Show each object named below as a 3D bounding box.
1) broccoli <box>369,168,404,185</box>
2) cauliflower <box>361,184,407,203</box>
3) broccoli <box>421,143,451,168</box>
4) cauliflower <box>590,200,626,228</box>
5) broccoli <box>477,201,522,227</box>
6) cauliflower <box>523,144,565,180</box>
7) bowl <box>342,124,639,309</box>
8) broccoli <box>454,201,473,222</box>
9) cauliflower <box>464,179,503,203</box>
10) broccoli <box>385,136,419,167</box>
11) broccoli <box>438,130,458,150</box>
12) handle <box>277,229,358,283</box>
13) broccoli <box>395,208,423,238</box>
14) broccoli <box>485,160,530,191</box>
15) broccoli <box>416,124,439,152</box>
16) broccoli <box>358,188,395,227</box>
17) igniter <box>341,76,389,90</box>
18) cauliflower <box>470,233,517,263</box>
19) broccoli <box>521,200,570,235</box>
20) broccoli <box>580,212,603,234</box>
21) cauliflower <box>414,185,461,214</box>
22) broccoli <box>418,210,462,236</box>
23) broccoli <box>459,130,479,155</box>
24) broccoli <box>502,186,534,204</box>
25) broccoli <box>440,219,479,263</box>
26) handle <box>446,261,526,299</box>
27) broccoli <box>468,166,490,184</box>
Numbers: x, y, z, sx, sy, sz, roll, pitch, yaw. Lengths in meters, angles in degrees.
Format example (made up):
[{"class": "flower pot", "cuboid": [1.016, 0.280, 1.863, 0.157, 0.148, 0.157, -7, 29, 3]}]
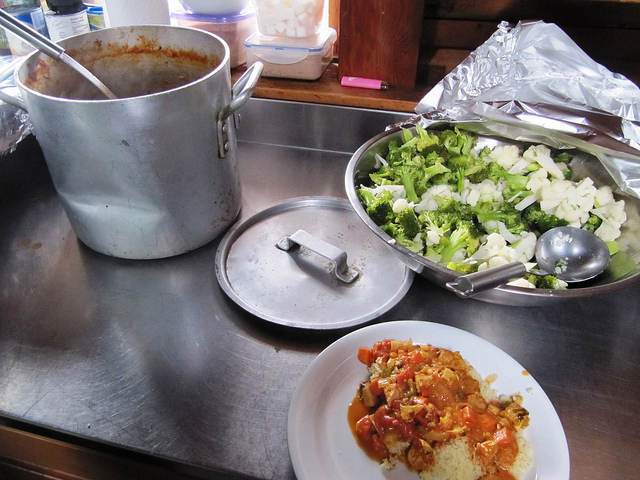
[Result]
[{"class": "broccoli", "cuboid": [0.162, -0.149, 1.227, 0.056, 0.016, 0.040, -2, 79, 14]}, {"class": "cauliflower", "cuboid": [0.162, -0.114, 1.198, 0.069, 0.037, 0.049, -11, 79, -1]}, {"class": "broccoli", "cuboid": [0.282, -0.207, 1.234, 0.056, 0.025, 0.056, -31, 58, -25]}, {"class": "cauliflower", "cuboid": [0.628, -0.054, 1.122, 0.053, 0.028, 0.054, 12, 61, 7]}, {"class": "broccoli", "cuboid": [0.413, -0.057, 1.169, 0.077, 0.042, 0.058, -11, 21, 9]}, {"class": "cauliflower", "cuboid": [0.520, -0.185, 1.191, 0.060, 0.043, 0.093, -35, 60, 0]}, {"class": "bowl", "cuboid": [0.408, 0.001, 1.202, 0.447, 0.151, 0.498, -7, 25, -23]}, {"class": "broccoli", "cuboid": [0.325, -0.066, 1.162, 0.040, 0.022, 0.045, -35, 74, -34]}, {"class": "cauliflower", "cuboid": [0.384, -0.115, 1.201, 0.071, 0.030, 0.056, 17, 57, 17]}, {"class": "broccoli", "cuboid": [0.192, -0.213, 1.238, 0.076, 0.033, 0.057, -16, 61, -13]}, {"class": "broccoli", "cuboid": [0.306, -0.242, 1.237, 0.045, 0.017, 0.042, 39, 86, 4]}, {"class": "handle", "cuboid": [0.014, 0.013, 1.188, 0.153, 0.121, 0.164, -21, 34, -35]}, {"class": "broccoli", "cuboid": [0.195, -0.038, 1.123, 0.060, 0.029, 0.059, 43, 69, -2]}, {"class": "broccoli", "cuboid": [0.438, -0.146, 1.203, 0.086, 0.040, 0.058, 20, 80, 18]}, {"class": "broccoli", "cuboid": [0.255, -0.243, 1.233, 0.058, 0.020, 0.060, -11, 54, 2]}, {"class": "broccoli", "cuboid": [0.124, -0.075, 1.200, 0.084, 0.050, 0.064, 42, 70, 14]}, {"class": "igniter", "cuboid": [0.130, -0.451, 1.479, 0.155, 0.022, 0.049, 9, 72, 9]}, {"class": "cauliflower", "cuboid": [0.367, 0.016, 1.117, 0.068, 0.029, 0.069, 18, 54, 36]}, {"class": "broccoli", "cuboid": [0.502, -0.049, 1.158, 0.062, 0.037, 0.076, -23, 68, 19]}, {"class": "broccoli", "cuboid": [0.613, -0.038, 1.146, 0.038, 0.014, 0.042, 14, 99, 46]}, {"class": "cauliflower", "cuboid": [0.266, -0.099, 1.198, 0.078, 0.026, 0.071, -50, 39, -12]}, {"class": "broccoli", "cuboid": [0.267, -0.044, 1.151, 0.065, 0.033, 0.066, -18, 46, 13]}, {"class": "broccoli", "cuboid": [0.361, -0.237, 1.248, 0.040, 0.042, 0.059, 12, 41, 25]}, {"class": "broccoli", "cuboid": [0.464, -0.104, 1.189, 0.051, 0.015, 0.038, -16, 96, 9]}, {"class": "broccoli", "cuboid": [0.309, 0.001, 1.175, 0.099, 0.067, 0.045, -44, 24, -8]}, {"class": "handle", "cuboid": [0.309, 0.072, 0.991, 0.120, 0.067, 0.115, -5, 19, -17]}, {"class": "broccoli", "cuboid": [0.377, -0.154, 1.211, 0.039, 0.033, 0.014, -18, 31, 35]}]
